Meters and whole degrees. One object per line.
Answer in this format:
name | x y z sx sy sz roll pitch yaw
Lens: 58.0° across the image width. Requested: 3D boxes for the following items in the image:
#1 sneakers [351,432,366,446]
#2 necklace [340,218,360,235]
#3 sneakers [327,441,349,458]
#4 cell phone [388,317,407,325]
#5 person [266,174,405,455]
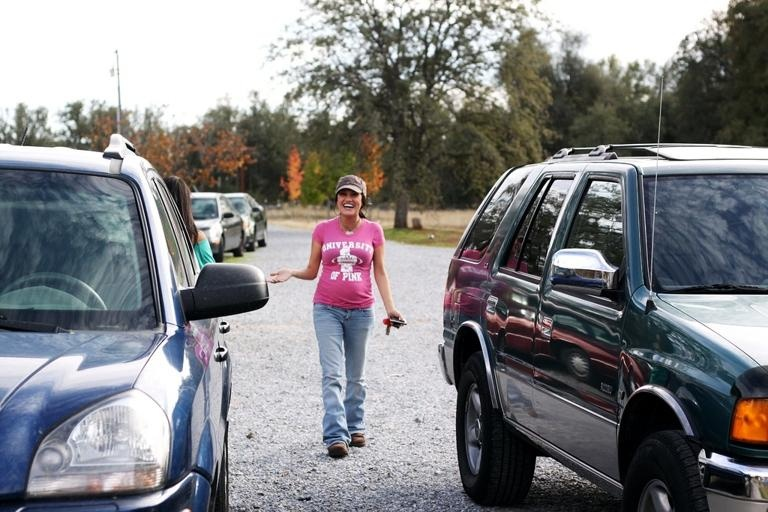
sneakers | -0.234 1.615 6.126 0.132 0.097 0.139 1 5 1
necklace | -0.313 -0.256 6.190 0.102 0.165 0.051 1 -3 0
sneakers | -0.391 1.623 5.787 0.080 0.115 0.218 -4 -11 5
cell phone | 0.119 0.572 6.074 0.160 0.062 0.169 2 5 13
person | -0.257 0.484 6.082 0.752 2.355 0.690 0 4 -11
